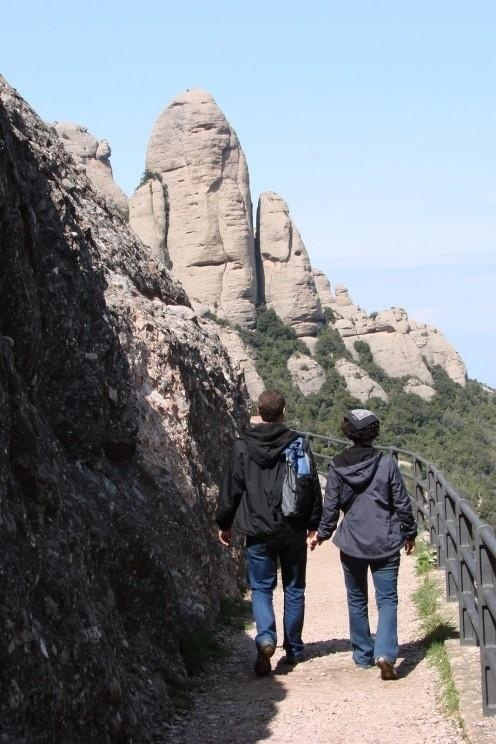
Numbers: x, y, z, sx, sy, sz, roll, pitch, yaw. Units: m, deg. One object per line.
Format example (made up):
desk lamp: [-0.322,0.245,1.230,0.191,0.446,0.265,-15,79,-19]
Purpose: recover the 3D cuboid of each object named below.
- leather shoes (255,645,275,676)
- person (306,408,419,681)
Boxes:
leather shoes: [0.082,1.461,5.716,0.069,0.222,0.090,2,33,0]
person: [0.577,0.861,5.662,0.515,1.344,0.399,-6,-1,22]
